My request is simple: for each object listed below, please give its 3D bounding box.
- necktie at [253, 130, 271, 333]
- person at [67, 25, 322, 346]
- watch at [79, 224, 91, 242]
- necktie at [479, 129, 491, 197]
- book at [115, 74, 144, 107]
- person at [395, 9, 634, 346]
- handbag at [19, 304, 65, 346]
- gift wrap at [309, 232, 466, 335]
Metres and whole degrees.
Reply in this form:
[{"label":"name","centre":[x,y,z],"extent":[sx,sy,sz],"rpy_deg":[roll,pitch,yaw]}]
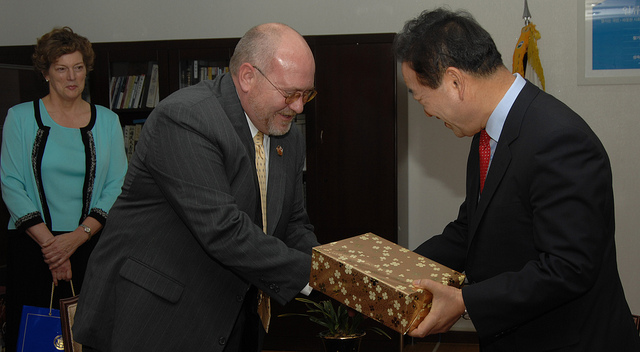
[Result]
[{"label":"necktie","centre":[-0.345,0.327,2.997],"extent":[0.096,1.132,0.124],"rpy_deg":[3,-3,13]},{"label":"person","centre":[-0.687,0.108,2.919],"extent":[1.374,1.927,0.637],"rpy_deg":[-3,14,-5]},{"label":"watch","centre":[-1.837,0.442,3.841],"extent":[0.108,0.113,0.073],"rpy_deg":[-39,-13,25]},{"label":"necktie","centre":[0.961,-0.091,2.875],"extent":[0.061,0.426,0.018],"rpy_deg":[-9,-24,44]},{"label":"book","centre":[-1.900,-0.874,4.930],"extent":[0.184,0.335,0.266],"rpy_deg":[19,0,-8]},{"label":"person","centre":[1.096,0.014,2.711],"extent":[1.239,1.852,0.611],"rpy_deg":[0,14,9]},{"label":"handbag","centre":[-2.096,1.124,3.705],"extent":[0.323,0.297,0.094],"rpy_deg":[-1,14,5]},{"label":"gift wrap","centre":[0.371,0.562,2.786],"extent":[0.704,0.253,0.529],"rpy_deg":[27,20,37]}]
